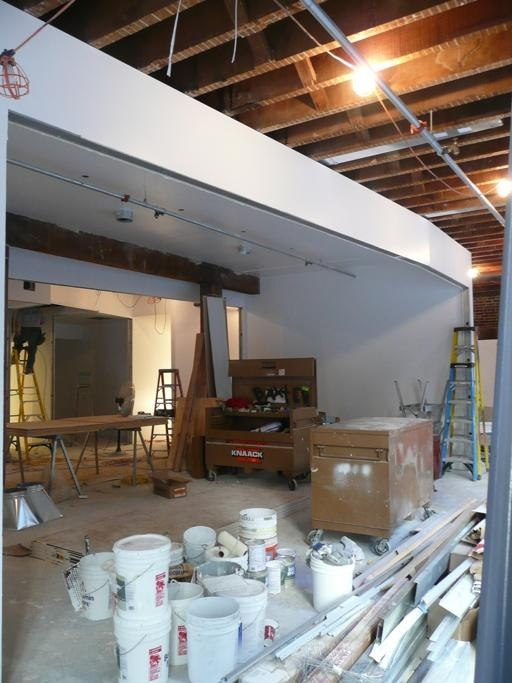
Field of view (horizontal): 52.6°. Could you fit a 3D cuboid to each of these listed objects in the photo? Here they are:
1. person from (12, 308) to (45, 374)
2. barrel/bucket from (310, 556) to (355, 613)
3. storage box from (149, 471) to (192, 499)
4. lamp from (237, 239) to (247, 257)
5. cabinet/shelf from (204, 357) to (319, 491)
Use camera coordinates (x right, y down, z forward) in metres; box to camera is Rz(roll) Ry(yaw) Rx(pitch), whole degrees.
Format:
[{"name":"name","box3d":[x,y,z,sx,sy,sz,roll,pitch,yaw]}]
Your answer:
[{"name":"person","box3d":[-4.433,-0.017,10.131,0.264,1.099,0.723,-5,-6,43]},{"name":"barrel/bucket","box3d":[0.415,1.276,2.855,0.258,0.262,0.257,1,3,0]},{"name":"storage box","box3d":[-0.962,1.581,5.737,0.338,0.179,0.606,0,-1,-24]},{"name":"lamp","box3d":[-0.164,-1.180,6.685,0.107,0.125,0.134,-11,-19,42]},{"name":"cabinet/shelf","box3d":[0.079,0.979,6.608,1.428,1.509,0.951,-1,-1,34]}]
